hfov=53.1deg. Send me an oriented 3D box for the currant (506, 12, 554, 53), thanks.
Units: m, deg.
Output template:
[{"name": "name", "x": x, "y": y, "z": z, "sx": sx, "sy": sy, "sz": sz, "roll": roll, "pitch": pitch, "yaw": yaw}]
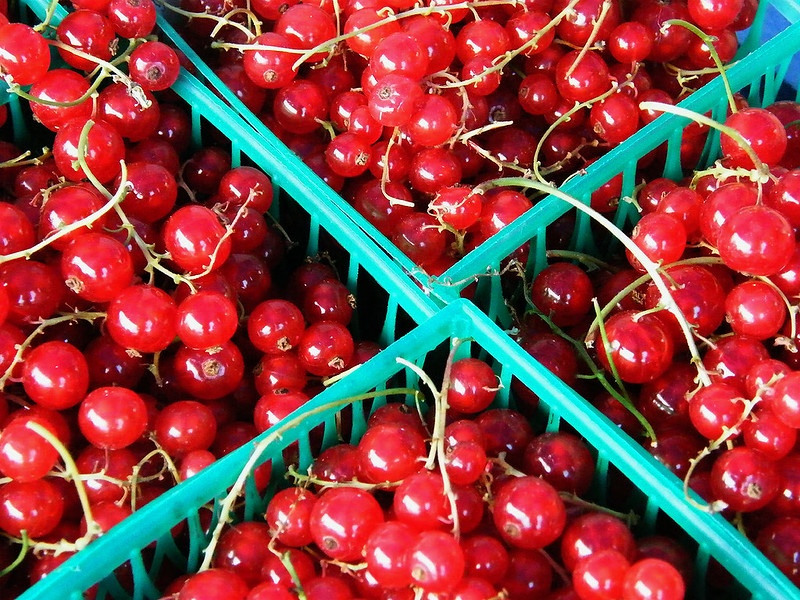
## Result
[{"name": "currant", "x": 0.259, "y": -0.542, "z": 1.611, "sx": 0.060, "sy": 0.071, "sz": 0.062, "roll": -31, "pitch": 74, "yaw": -36}]
